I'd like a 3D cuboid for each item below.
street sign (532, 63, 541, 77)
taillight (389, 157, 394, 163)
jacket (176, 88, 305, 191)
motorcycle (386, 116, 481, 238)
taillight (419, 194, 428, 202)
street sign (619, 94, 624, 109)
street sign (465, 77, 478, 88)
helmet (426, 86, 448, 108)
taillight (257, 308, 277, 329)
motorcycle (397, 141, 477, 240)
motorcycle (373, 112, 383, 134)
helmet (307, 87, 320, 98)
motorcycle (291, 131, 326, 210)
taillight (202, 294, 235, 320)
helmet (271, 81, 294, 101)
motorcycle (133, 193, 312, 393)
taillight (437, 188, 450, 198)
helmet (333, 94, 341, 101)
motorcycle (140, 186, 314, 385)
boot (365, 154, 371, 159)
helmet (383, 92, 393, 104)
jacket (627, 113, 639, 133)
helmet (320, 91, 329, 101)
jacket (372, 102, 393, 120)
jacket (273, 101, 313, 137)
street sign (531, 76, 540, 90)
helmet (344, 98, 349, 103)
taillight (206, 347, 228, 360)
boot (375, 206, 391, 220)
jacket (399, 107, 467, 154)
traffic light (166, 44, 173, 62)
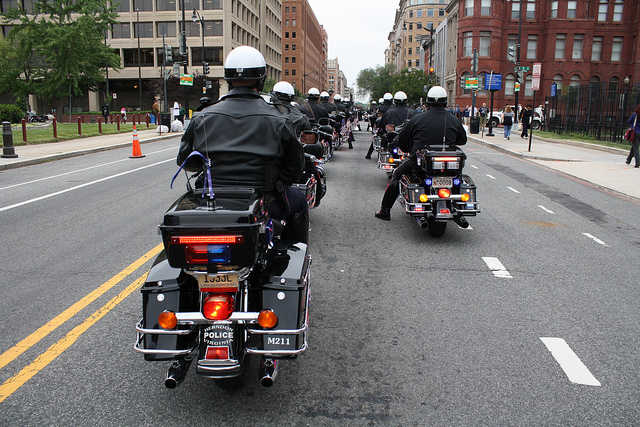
[{"bbox_3d":[9.150,-6.079,21.910,0.260,0.544,0.619,4,15,16],"label":"street sign"},{"bbox_3d":[1.833,-1.386,13.346,0.092,0.102,0.095,6,9,16],"label":"taillight"},{"bbox_3d":[-0.826,-0.779,5.426,1.433,1.272,0.976,3,12,7],"label":"jacket"},{"bbox_3d":[1.988,-0.804,10.282,1.438,1.881,3.098,2,11,-6],"label":"motorcycle"},{"bbox_3d":[1.789,-0.274,8.983,0.109,0.116,0.112,-8,-12,22],"label":"taillight"},{"bbox_3d":[15.379,-5.745,26.465,0.143,0.718,1.237,6,16,26],"label":"street sign"},{"bbox_3d":[10.101,-8.757,34.652,1.065,0.802,0.627,1,19,3],"label":"street sign"},{"bbox_3d":[2.242,-2.264,9.888,0.294,0.372,0.426,3,25,9],"label":"helmet"},{"bbox_3d":[-0.469,0.954,4.616,0.149,0.165,0.067,1,10,-8],"label":"taillight"},{"bbox_3d":[2.132,-0.397,9.314,1.270,1.719,1.078,2,14,9],"label":"motorcycle"},{"bbox_3d":[2.218,-3.568,20.135,0.523,0.682,1.013,-1,5,1],"label":"motorcycle"},{"bbox_3d":[-0.206,-3.882,16.480,0.309,0.366,0.426,-1,7,-1],"label":"helmet"},{"bbox_3d":[-0.295,-0.713,9.653,0.524,1.088,1.648,-16,-1,2],"label":"motorcycle"},{"bbox_3d":[-0.891,0.810,4.481,0.202,0.207,0.229,2,4,-1],"label":"taillight"},{"bbox_3d":[-0.671,-2.286,9.567,0.307,0.350,0.437,9,45,-8],"label":"helmet"},{"bbox_3d":[-0.958,0.792,5.488,1.335,1.338,2.231,2,16,3],"label":"motorcycle"},{"bbox_3d":[2.122,-0.359,8.912,0.202,0.146,0.091,2,14,9],"label":"taillight"},{"bbox_3d":[0.793,-5.418,23.921,0.247,0.320,0.303,-3,-8,6],"label":"helmet"},{"bbox_3d":[-0.866,0.605,4.696,1.473,1.616,0.827,-1,14,-3],"label":"motorcycle"},{"bbox_3d":[1.924,-2.322,20.835,0.229,0.191,0.495,1,16,4],"label":"boot"},{"bbox_3d":[2.444,-4.175,18.622,0.269,0.327,0.379,5,23,12],"label":"helmet"},{"bbox_3d":[10.753,-3.080,17.679,0.399,0.620,0.560,9,8,14],"label":"jacket"},{"bbox_3d":[0.190,-5.006,21.750,0.443,0.245,0.662,-1,11,-1],"label":"helmet"},{"bbox_3d":[2.269,-3.709,18.420,0.445,0.557,0.953,-3,5,-7],"label":"jacket"},{"bbox_3d":[-0.563,-1.546,8.690,0.940,0.343,0.877,-17,9,-19],"label":"jacket"},{"bbox_3d":[9.408,-5.748,22.710,0.247,0.589,1.122,4,16,17],"label":"street sign"},{"bbox_3d":[1.492,-6.407,29.165,0.430,0.163,0.456,0,8,-1],"label":"helmet"},{"bbox_3d":[-0.895,1.213,4.539,0.118,0.122,0.030,3,-5,-1],"label":"taillight"},{"bbox_3d":[1.286,-0.017,10.640,0.145,0.268,0.369,-2,23,-7],"label":"boot"},{"bbox_3d":[2.170,-1.534,9.821,1.332,1.017,0.835,-1,14,1],"label":"jacket"},{"bbox_3d":[-9.554,-10.170,32.743,0.341,0.956,1.637,-5,16,-19],"label":"traffic light"}]
